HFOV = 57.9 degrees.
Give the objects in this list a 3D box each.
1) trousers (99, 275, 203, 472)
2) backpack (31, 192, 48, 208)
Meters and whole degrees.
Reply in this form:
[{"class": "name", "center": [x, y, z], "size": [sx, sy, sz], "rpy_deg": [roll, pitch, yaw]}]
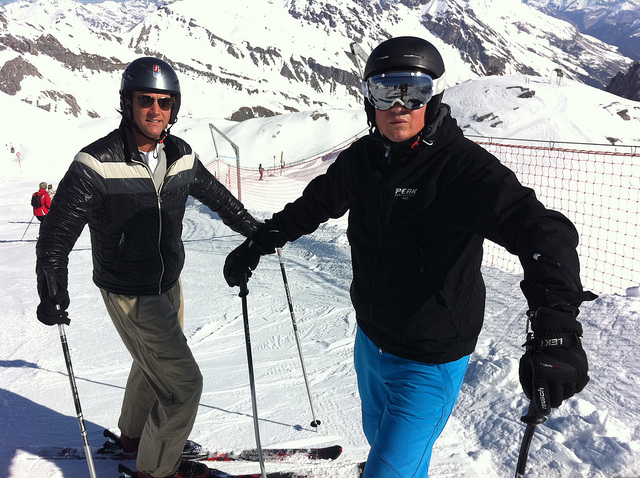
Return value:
[{"class": "trousers", "center": [-1.496, 1.381, 5.298], "size": [0.600, 1.795, 0.839], "rpy_deg": [-11, 28, -39]}, {"class": "backpack", "center": [-6.654, -0.903, 13.657], "size": [0.245, 0.385, 0.395], "rpy_deg": [4, 1, 23]}]
